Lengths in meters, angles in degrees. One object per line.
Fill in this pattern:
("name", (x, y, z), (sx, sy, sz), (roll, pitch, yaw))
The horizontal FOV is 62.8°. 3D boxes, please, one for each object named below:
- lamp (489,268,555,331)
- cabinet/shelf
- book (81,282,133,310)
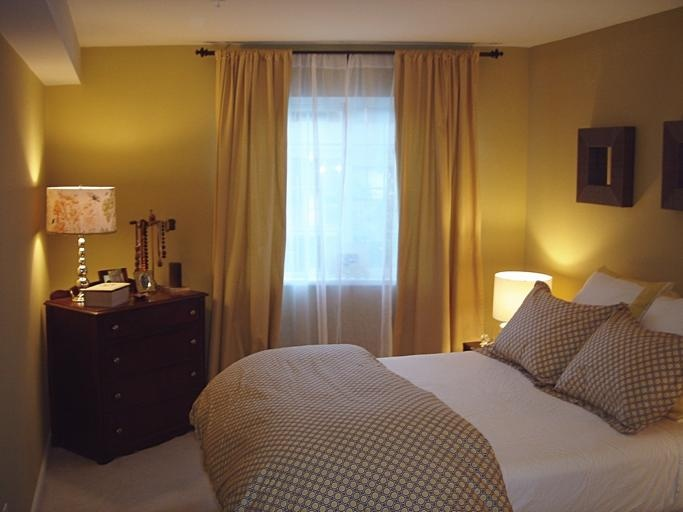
("lamp", (1.467, 0.303, 4.520), (0.441, 0.561, 0.447), (2, 1, 44))
("cabinet/shelf", (-1.607, 0.840, 4.305), (0.633, 1.148, 1.051), (4, 6, 26))
("book", (-1.699, 0.280, 4.011), (0.309, 0.130, 0.254), (-2, 8, -3))
